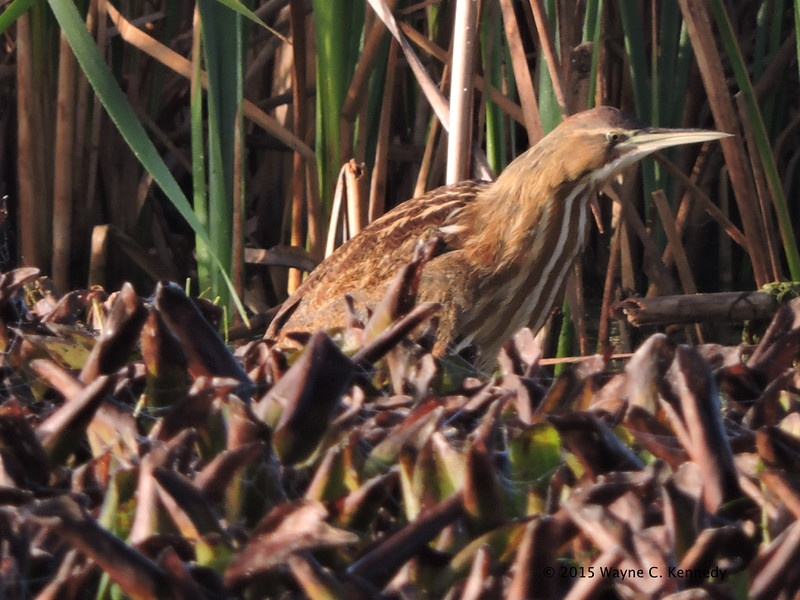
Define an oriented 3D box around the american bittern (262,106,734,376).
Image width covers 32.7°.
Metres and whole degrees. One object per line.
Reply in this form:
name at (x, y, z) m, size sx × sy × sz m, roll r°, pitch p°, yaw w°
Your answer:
american bittern at (0.114, -0.003, 2.831) m, size 1.083 × 0.738 × 0.413 m, roll 1°, pitch 2°, yaw 27°
